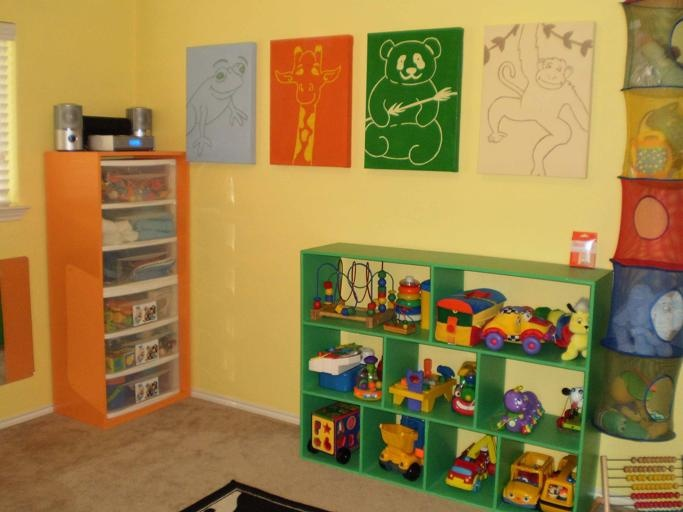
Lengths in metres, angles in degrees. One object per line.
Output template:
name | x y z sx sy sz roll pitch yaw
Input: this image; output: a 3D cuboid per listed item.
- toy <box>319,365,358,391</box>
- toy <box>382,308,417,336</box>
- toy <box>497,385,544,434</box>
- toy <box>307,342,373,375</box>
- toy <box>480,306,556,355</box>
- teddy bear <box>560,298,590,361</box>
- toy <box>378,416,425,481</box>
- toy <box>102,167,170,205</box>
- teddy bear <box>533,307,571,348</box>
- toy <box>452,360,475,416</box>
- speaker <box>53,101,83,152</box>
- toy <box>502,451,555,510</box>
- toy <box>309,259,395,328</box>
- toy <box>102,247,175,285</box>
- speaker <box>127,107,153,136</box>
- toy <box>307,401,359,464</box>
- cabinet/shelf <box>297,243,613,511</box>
toy | -0.006 0.688 3.469 0.159 0.104 0.160 6 8 41
toy | 0.326 0.371 3.280 0.115 0.075 0.115 5 6 36
toy | 0.953 0.801 3.124 0.168 0.203 0.262 2 3 33
toy | 0.011 0.602 3.470 0.192 0.093 0.243 5 12 43
toy | 0.928 0.366 3.062 0.301 0.182 0.230 -1 9 20
teddy bear | 1.179 0.370 2.940 0.114 0.292 0.201 6 15 22
toy | 0.353 1.110 3.442 0.241 0.292 0.281 4 6 37
toy | -1.343 -0.481 3.901 0.112 0.236 0.507 8 16 30
teddy bear | 1.111 0.375 3.095 0.182 0.193 0.079 2 -24 -15
toy | 0.679 0.689 3.233 0.117 0.316 0.348 3 14 11
speaker | -1.775 -0.844 3.837 0.180 0.298 0.177 -5 15 -21
toy | 0.983 1.189 3.119 0.173 0.189 0.307 1 2 30
toy | 0.060 0.222 3.534 0.530 0.528 0.363 6 12 30
toy | -1.337 0.049 3.919 0.226 0.113 0.295 9 12 42
speaker | -1.385 -0.936 4.079 0.172 0.266 0.203 0 13 -11
toy | -0.024 1.021 3.550 0.294 0.291 0.289 5 6 39
cabinet/shelf | 0.669 0.689 3.211 1.235 1.012 0.324 7 18 25
